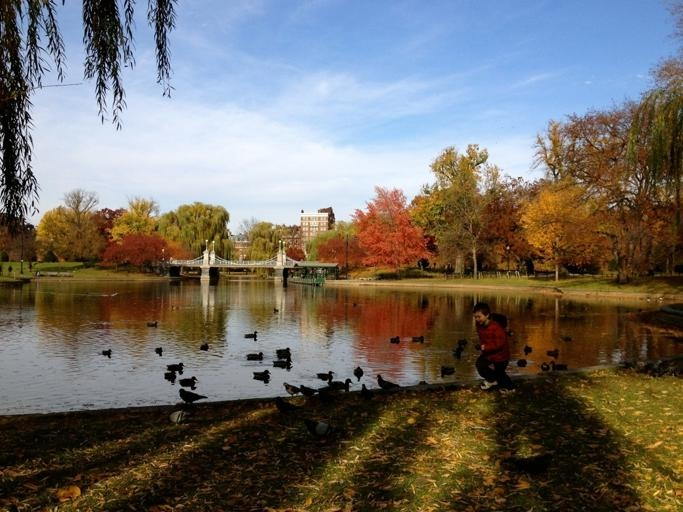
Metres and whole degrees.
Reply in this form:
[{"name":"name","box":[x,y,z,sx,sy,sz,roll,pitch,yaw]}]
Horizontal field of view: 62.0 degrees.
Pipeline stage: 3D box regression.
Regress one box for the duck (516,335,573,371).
[{"name":"duck","box":[6.420,3.185,17.975,2.643,1.197,0.772,9,-13,-37]}]

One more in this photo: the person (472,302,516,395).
[{"name":"person","box":[3.228,1.929,12.133,0.764,1.917,1.241,-1,-1,16]}]

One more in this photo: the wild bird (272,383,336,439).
[{"name":"wild bird","box":[-0.858,3.013,11.252,0.645,0.277,2.980,0,0,-23]}]

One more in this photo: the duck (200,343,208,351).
[{"name":"duck","box":[-5.029,3.302,20.854,0.233,0.221,0.313,2,-2,2]}]

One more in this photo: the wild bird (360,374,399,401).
[{"name":"wild bird","box":[0.915,3.075,13.389,0.924,0.588,0.458,-2,-10,-45]}]

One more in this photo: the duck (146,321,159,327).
[{"name":"duck","box":[-9.035,3.255,27.227,0.446,0.210,0.546,1,1,-11]}]

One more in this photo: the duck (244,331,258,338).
[{"name":"duck","box":[-3.813,3.383,23.988,0.505,0.337,0.276,-3,7,8]}]
